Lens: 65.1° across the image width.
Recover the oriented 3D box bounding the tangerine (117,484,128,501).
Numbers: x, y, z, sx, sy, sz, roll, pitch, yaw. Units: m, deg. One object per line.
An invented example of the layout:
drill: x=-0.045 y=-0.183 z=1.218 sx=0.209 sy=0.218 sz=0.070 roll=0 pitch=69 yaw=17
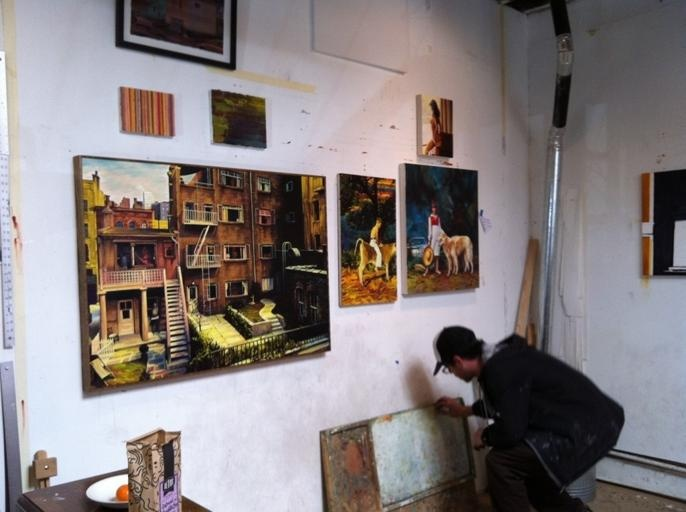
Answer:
tangerine: x=-0.891 y=0.958 z=2.173 sx=0.048 sy=0.058 sz=0.053 roll=0 pitch=-12 yaw=8
